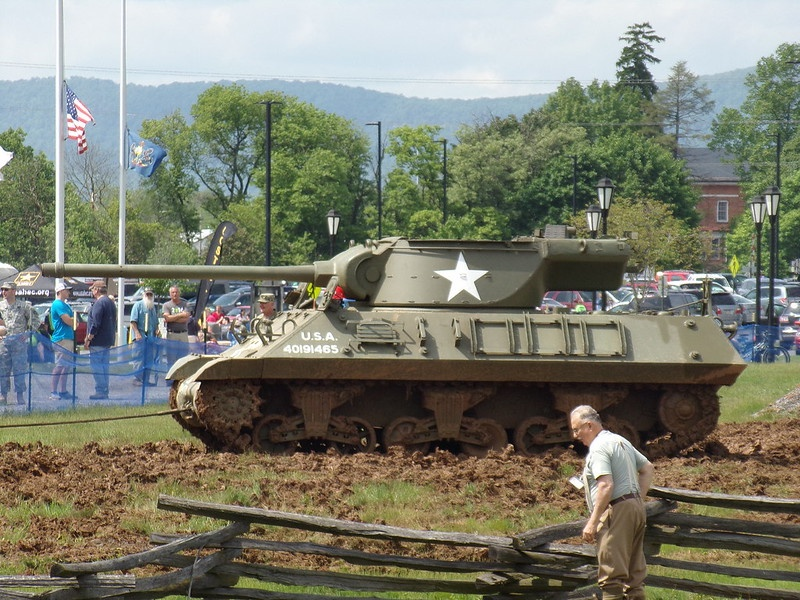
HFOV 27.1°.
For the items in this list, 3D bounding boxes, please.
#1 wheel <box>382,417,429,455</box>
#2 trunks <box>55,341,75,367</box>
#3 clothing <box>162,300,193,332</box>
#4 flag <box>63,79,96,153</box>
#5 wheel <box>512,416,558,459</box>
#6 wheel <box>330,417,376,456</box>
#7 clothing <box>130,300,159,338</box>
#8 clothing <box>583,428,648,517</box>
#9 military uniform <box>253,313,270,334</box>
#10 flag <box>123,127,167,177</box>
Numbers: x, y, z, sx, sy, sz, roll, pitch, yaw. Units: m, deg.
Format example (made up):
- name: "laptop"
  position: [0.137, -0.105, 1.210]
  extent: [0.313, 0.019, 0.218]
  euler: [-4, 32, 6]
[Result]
- name: "wheel"
  position: [0.091, 3.497, 43.022]
  extent: [0.906, 0.977, 0.934]
  euler: [0, 3, 0]
- name: "trunks"
  position: [-9.435, 1.572, 46.787]
  extent: [0.450, 0.814, 0.585]
  euler: [-7, -9, 38]
- name: "clothing"
  position: [-6.813, 0.544, 50.820]
  extent: [0.911, 1.170, 0.618]
  euler: [2, -18, -19]
- name: "flag"
  position: [-10.478, -6.044, 54.336]
  extent: [1.157, 3.391, 0.475]
  euler: [-21, -37, 16]
- name: "wheel"
  position: [3.503, 3.605, 42.741]
  extent: [0.948, 1.018, 0.314]
  euler: [0, -2, -5]
- name: "wheel"
  position: [-1.181, 3.498, 42.509]
  extent: [1.119, 0.707, 0.345]
  euler: [-1, -1, 0]
- name: "clothing"
  position: [-7.698, 0.641, 50.142]
  extent: [1.170, 1.226, 0.635]
  euler: [0, -3, -39]
- name: "clothing"
  position: [4.674, 3.723, 36.822]
  extent: [0.993, 1.611, 1.841]
  euler: [-13, -4, 41]
- name: "military uniform"
  position: [-3.484, 0.671, 42.292]
  extent: [0.393, 0.427, 0.549]
  euler: [-15, 18, -36]
- name: "flag"
  position: [-8.833, -4.992, 57.326]
  extent: [0.122, 1.225, 1.585]
  euler: [-6, -16, 41]
